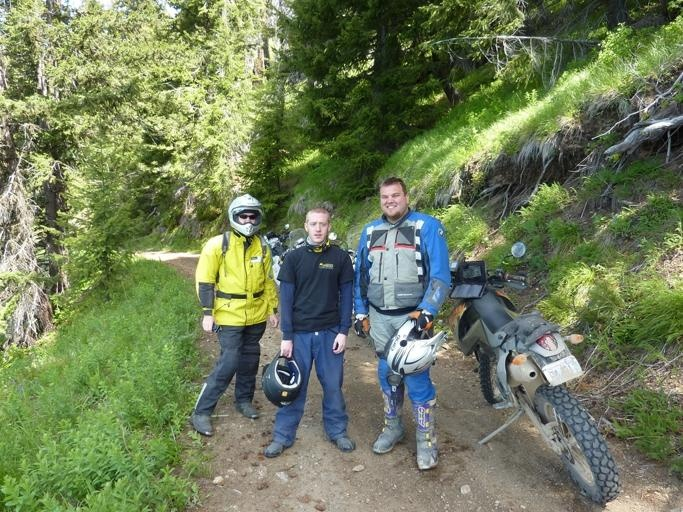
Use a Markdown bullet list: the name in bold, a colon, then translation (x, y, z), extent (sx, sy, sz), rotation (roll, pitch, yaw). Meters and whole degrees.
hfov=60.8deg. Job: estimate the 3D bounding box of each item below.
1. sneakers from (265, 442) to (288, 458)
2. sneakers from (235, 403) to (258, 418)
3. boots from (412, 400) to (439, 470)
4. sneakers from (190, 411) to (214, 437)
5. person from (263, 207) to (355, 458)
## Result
- **sneakers**: translation (-1.010, 2.933, 8.780), extent (0.153, 0.142, 0.318), rotation (-2, -10, 30)
- **sneakers**: translation (-1.568, 2.565, 9.664), extent (0.165, 0.191, 0.422), rotation (-4, 0, -38)
- **boots**: translation (1.233, 2.616, 8.672), extent (0.344, 0.855, 1.058), rotation (-4, 12, 6)
- **sneakers**: translation (-2.202, 2.652, 9.199), extent (0.217, 0.195, 0.425), rotation (8, 4, -38)
- **person**: translation (-0.418, 1.115, 8.952), extent (1.235, 3.626, 1.012), rotation (0, 12, -7)
